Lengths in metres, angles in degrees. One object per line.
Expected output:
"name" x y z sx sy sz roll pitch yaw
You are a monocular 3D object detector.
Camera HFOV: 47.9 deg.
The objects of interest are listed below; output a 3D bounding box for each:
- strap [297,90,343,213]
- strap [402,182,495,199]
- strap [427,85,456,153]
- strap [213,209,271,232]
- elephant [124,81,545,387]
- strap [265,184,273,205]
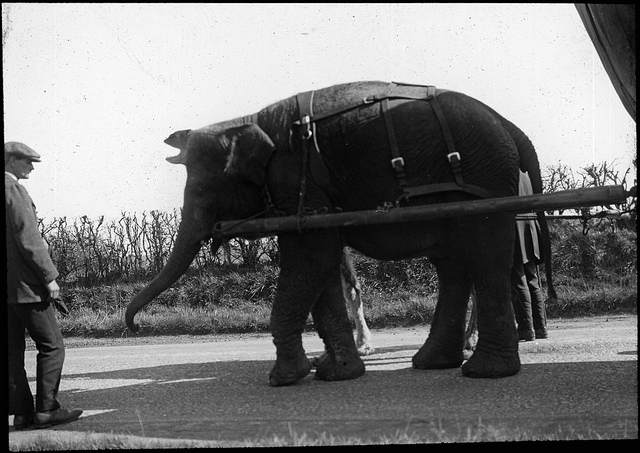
"strap" -0.041 -0.713 7.124 0.307 1.427 0.239 -10 0 -14
"strap" 1.200 -0.328 6.809 0.825 0.161 0.127 -3 -1 11
"strap" 1.169 -0.972 6.923 0.107 0.622 0.231 -2 -1 -35
"strap" -0.763 -0.023 6.956 0.598 0.214 0.053 -16 -19 10
"elephant" 0.588 0.060 8.524 4.915 3.821 2.193 -2 -5 8
"strap" -0.510 -0.298 7.183 0.036 0.268 0.034 6 30 38
